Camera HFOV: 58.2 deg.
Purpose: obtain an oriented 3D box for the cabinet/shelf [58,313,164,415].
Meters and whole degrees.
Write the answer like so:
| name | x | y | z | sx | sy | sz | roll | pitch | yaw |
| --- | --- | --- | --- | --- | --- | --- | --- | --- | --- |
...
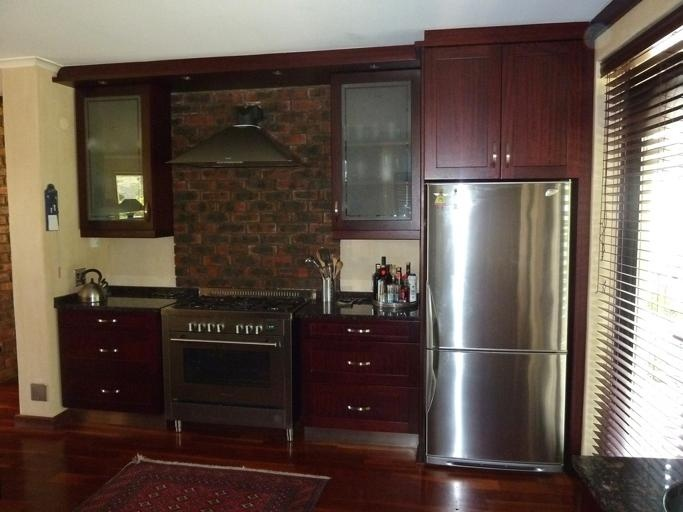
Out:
| name | x | y | z | sx | sy | sz | roll | pitch | yaw |
| --- | --- | --- | --- | --- | --- | --- | --- | --- | --- |
| cabinet/shelf | -1.766 | 0.819 | 5.030 | 0.898 | 0.819 | 0.525 | 0 | 2 | 10 |

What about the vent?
| name | x | y | z | sx | sy | sz | roll | pitch | yaw |
| --- | --- | --- | --- | --- | --- | --- | --- | --- | --- |
| vent | -0.804 | -0.984 | 4.900 | 1.158 | 0.411 | 1.190 | 10 | 15 | 33 |

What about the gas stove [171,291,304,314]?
| name | x | y | z | sx | sy | sz | roll | pitch | yaw |
| --- | --- | --- | --- | --- | --- | --- | --- | --- | --- |
| gas stove | -0.820 | 0.366 | 4.834 | 1.041 | 0.055 | 0.586 | -1 | 5 | 9 |

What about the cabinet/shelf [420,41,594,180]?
| name | x | y | z | sx | sy | sz | roll | pitch | yaw |
| --- | --- | --- | --- | --- | --- | --- | --- | --- | --- |
| cabinet/shelf | 1.154 | -1.009 | 4.114 | 0.981 | 0.776 | 0.368 | 1 | 2 | 9 |

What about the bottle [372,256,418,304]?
| name | x | y | z | sx | sy | sz | roll | pitch | yaw |
| --- | --- | --- | --- | --- | --- | --- | --- | --- | --- |
| bottle | 0.359 | 0.173 | 4.778 | 0.368 | 0.365 | 0.341 | -2 | 5 | -11 |

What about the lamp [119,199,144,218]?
| name | x | y | z | sx | sy | sz | roll | pitch | yaw |
| --- | --- | --- | --- | --- | --- | --- | --- | --- | --- |
| lamp | -1.705 | -0.381 | 4.956 | 0.175 | 0.153 | 0.040 | 3 | 4 | 10 |

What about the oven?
| name | x | y | z | sx | sy | sz | roll | pitch | yaw |
| --- | --- | --- | --- | --- | --- | --- | --- | --- | --- |
| oven | -0.773 | 0.734 | 4.965 | 1.256 | 1.146 | 0.829 | 0 | -1 | 10 |

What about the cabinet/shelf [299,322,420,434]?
| name | x | y | z | sx | sy | sz | roll | pitch | yaw |
| --- | --- | --- | --- | --- | --- | --- | --- | --- | --- |
| cabinet/shelf | 0.194 | 0.884 | 4.726 | 0.936 | 0.817 | 0.553 | 1 | -1 | 16 |

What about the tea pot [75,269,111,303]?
| name | x | y | z | sx | sy | sz | roll | pitch | yaw |
| --- | --- | --- | --- | --- | --- | --- | --- | --- | --- |
| tea pot | -2.042 | 0.253 | 5.029 | 0.213 | 0.296 | 0.308 | -2 | -6 | 23 |

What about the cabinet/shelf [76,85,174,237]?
| name | x | y | z | sx | sy | sz | roll | pitch | yaw |
| --- | --- | --- | --- | --- | --- | --- | --- | --- | --- |
| cabinet/shelf | -1.975 | -0.712 | 5.071 | 0.378 | 1.211 | 0.681 | 5 | 8 | 38 |
